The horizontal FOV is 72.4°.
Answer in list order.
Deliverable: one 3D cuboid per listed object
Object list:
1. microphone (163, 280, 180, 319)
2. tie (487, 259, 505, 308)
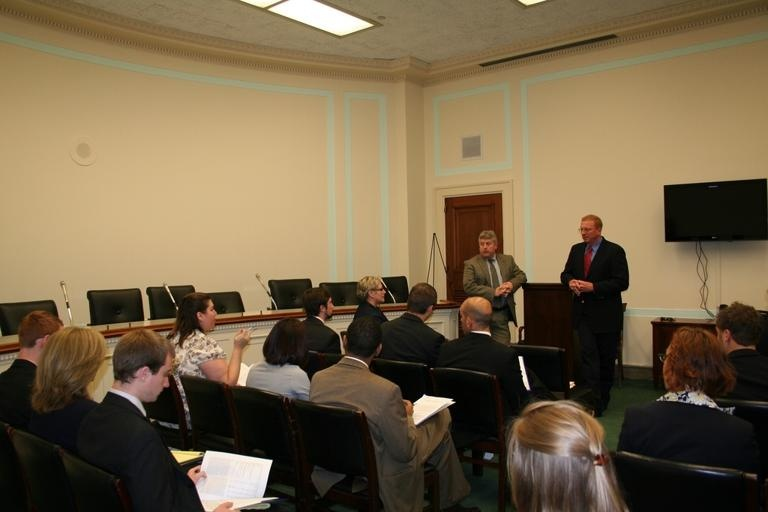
[{"bbox_3d":[-2.380,0.497,5.845,0.094,0.411,0.044,-14,8,4],"label":"microphone"},{"bbox_3d":[1.266,0.309,5.942,0.117,0.558,0.146,-6,-29,10],"label":"tie"}]
